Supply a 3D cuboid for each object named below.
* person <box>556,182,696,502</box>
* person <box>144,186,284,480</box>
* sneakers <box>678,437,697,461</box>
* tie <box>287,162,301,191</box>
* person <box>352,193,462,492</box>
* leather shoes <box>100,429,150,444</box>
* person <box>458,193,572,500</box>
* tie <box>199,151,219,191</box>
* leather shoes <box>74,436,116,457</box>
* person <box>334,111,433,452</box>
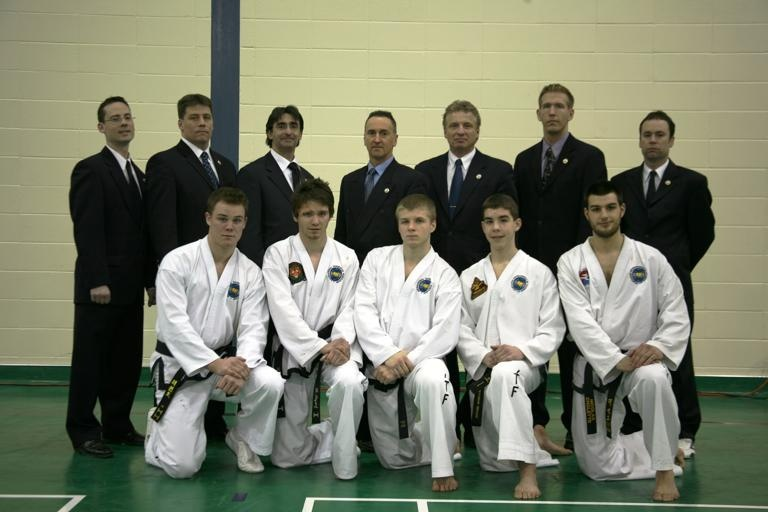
[{"bbox_3d":[2.247,0.716,7.214,1.176,2.805,0.876,3,7,22],"label":"person"},{"bbox_3d":[-1.665,0.718,7.339,1.258,2.741,0.806,-2,7,-19],"label":"person"},{"bbox_3d":[3.088,1.962,7.769,0.183,0.101,0.239,0,-1,7],"label":"sneakers"},{"bbox_3d":[-0.945,-0.878,8.220,0.188,0.321,0.075,0,-6,-13],"label":"tie"},{"bbox_3d":[0.300,0.752,7.386,1.275,2.661,0.770,7,9,43],"label":"person"},{"bbox_3d":[-2.709,1.898,7.960,0.435,0.181,0.180,0,-2,-1],"label":"leather shoes"},{"bbox_3d":[1.189,0.769,7.263,0.971,2.663,1.096,1,7,7],"label":"person"},{"bbox_3d":[-1.852,-0.915,8.101,0.098,0.668,0.080,-20,-32,-9],"label":"tie"},{"bbox_3d":[-2.876,1.901,7.628,0.361,0.151,0.171,-3,-6,22],"label":"leather shoes"},{"bbox_3d":[-0.153,0.082,8.403,0.930,3.148,0.929,9,26,13],"label":"person"}]
